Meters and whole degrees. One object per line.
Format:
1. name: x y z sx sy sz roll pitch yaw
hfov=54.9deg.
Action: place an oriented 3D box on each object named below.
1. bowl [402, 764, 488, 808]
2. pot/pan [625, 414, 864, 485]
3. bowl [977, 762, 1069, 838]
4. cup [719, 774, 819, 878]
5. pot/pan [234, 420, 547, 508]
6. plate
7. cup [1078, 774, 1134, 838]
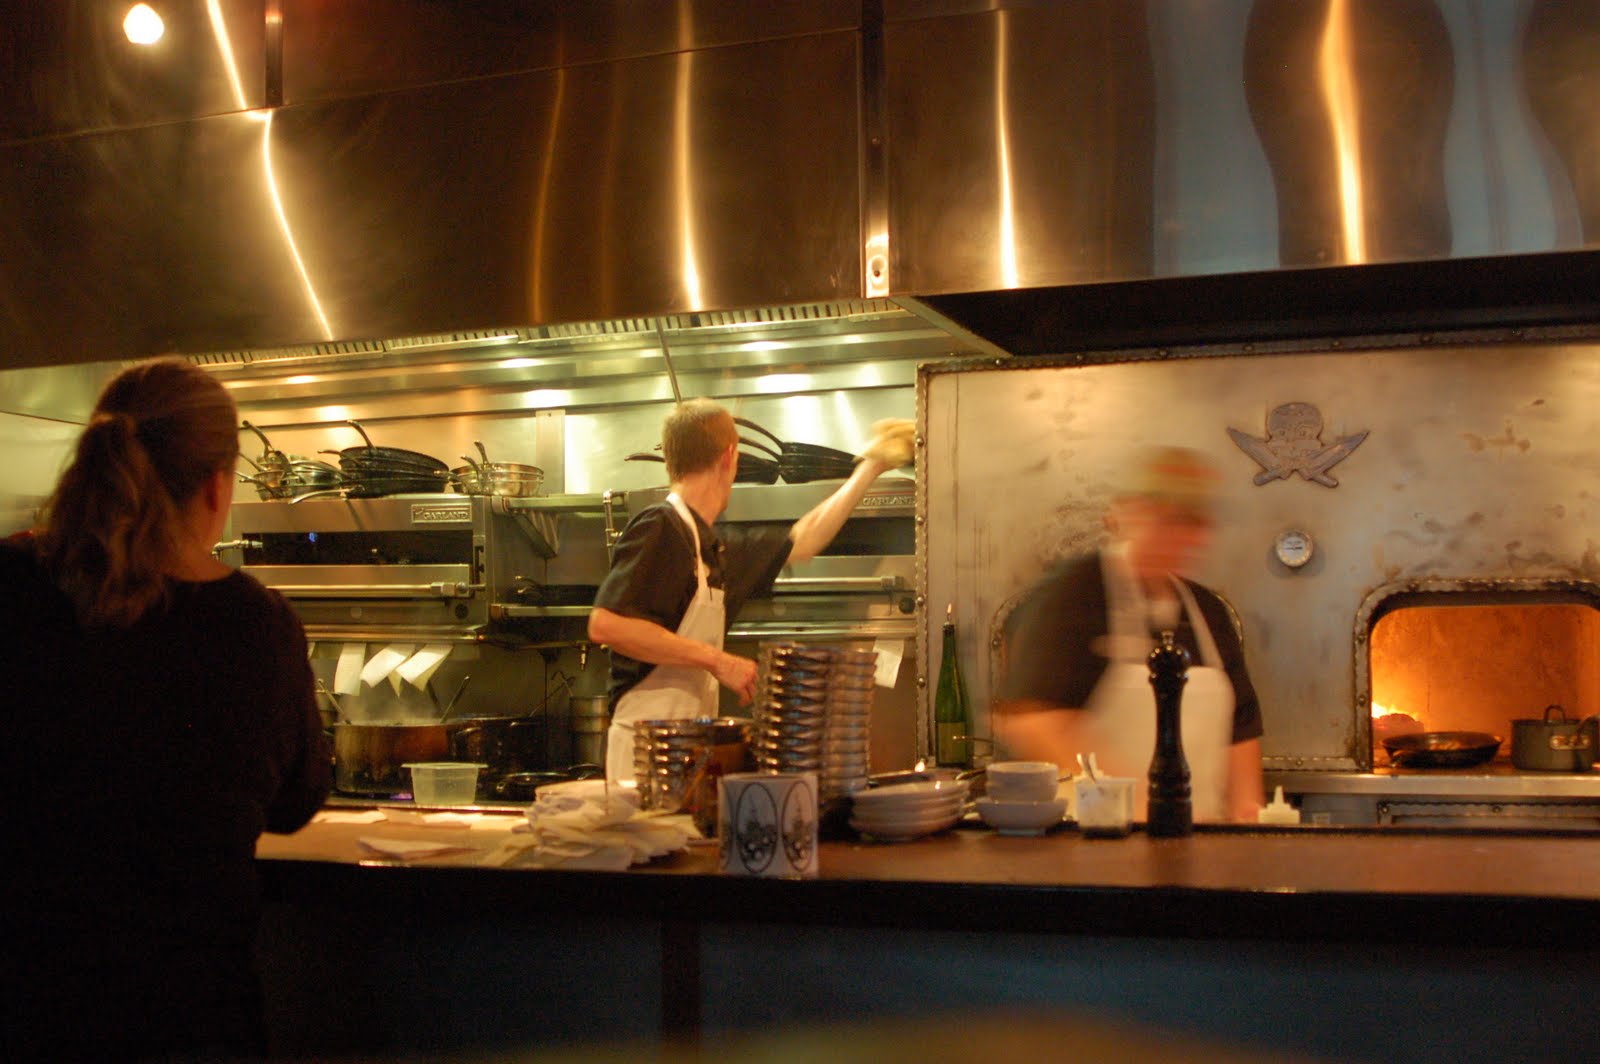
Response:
1. bowl: -0.955 0.664 4.082 0.160 0.102 0.104 1 -5 -1
2. pot/pan: -0.283 -0.345 5.492 1.024 0.207 0.295 5 -10 15
3. bowl: 0.508 0.606 3.545 0.197 0.153 0.193 1 -5 0
4. cup: -0.079 0.605 3.184 0.221 0.205 0.217 -1 -6 0
5. pot/pan: -1.518 -0.214 5.592 0.511 0.242 0.787 -1 -2 30
6. plate: 0.040 0.475 3.580 0.664 0.425 0.559 6 -6 -45
7. cup: 0.693 0.631 3.528 0.130 0.113 0.122 1 -9 0
